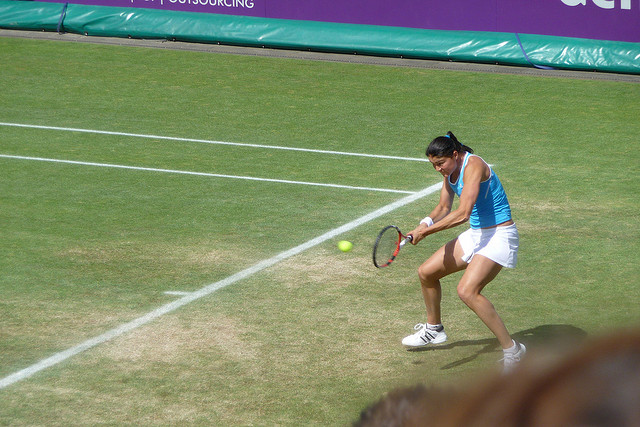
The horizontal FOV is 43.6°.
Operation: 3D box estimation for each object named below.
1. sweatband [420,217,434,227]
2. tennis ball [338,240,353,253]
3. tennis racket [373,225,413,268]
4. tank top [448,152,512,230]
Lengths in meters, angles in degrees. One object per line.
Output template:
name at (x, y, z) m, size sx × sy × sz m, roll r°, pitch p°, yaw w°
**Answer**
sweatband at (1.034, 0.081, 7.820) m, size 0.107 × 0.078 × 0.095 m, roll -3°, pitch -21°, yaw -46°
tennis ball at (0.256, 0.368, 9.016) m, size 0.173 × 0.117 × 0.148 m, roll 18°, pitch 32°, yaw 21°
tennis racket at (0.784, 0.373, 8.542) m, size 0.062 × 0.296 × 0.777 m, roll 48°, pitch 10°, yaw 11°
tank top at (1.503, -0.221, 7.582) m, size 0.465 × 0.740 × 0.280 m, roll -14°, pitch 6°, yaw -4°
